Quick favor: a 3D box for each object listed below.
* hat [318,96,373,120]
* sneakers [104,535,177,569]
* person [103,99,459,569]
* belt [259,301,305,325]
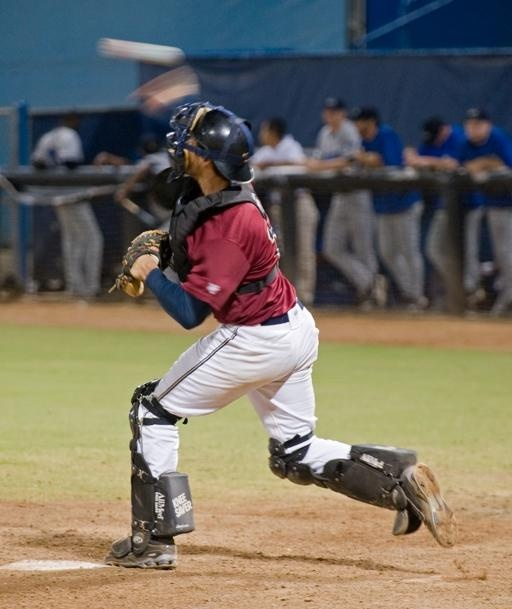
[{"bbox_3d":[0.668,-1.412,7.658,0.325,0.103,0.179,8,11,4],"label":"hat"},{"bbox_3d":[-0.402,0.894,3.803,0.263,0.098,0.099,1,-13,17],"label":"sneakers"},{"bbox_3d":[0.007,0.113,3.779,1.117,1.644,0.442,-1,13,-5],"label":"person"},{"bbox_3d":[0.088,0.042,3.714,0.117,0.037,0.079,-20,-14,-14],"label":"belt"}]
